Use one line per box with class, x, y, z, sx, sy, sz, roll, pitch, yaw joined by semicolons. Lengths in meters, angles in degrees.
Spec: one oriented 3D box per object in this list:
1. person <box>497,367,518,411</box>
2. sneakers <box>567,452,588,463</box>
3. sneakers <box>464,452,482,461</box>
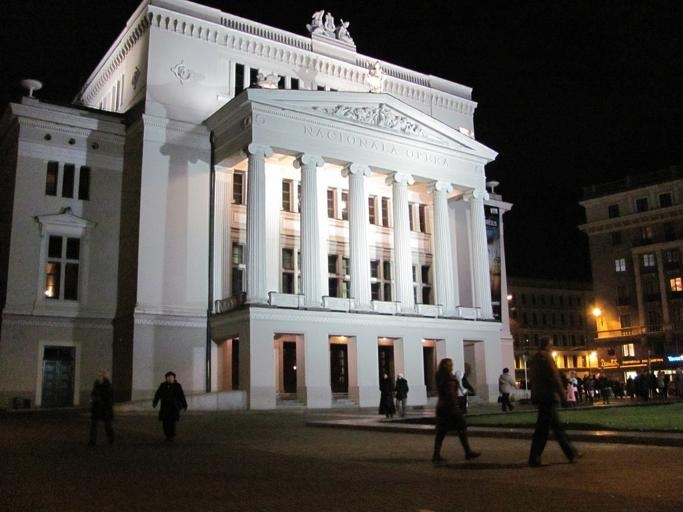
person;7.662;6.099;30.179;0.690;1.826;0.517;-4;18;5
sneakers;4.854;4.158;13.417;0.189;0.262;0.625;-7;-6;34
sneakers;2.792;4.308;13.925;0.295;0.224;0.636;-3;-10;10
